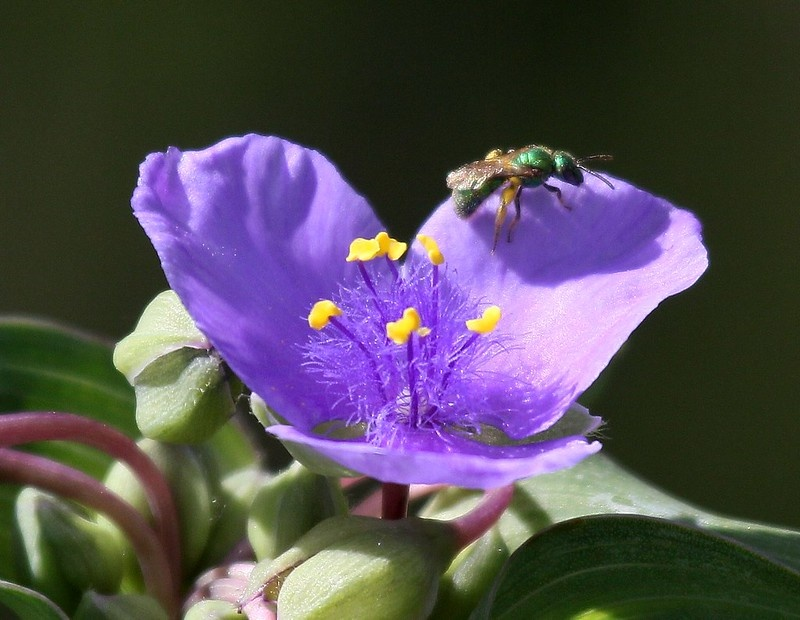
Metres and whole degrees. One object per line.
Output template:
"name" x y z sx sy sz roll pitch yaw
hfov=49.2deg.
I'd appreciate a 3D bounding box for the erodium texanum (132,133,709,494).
"erodium texanum" 0.028 0.000 0.846 0.518 0.212 0.447 27 33 26
